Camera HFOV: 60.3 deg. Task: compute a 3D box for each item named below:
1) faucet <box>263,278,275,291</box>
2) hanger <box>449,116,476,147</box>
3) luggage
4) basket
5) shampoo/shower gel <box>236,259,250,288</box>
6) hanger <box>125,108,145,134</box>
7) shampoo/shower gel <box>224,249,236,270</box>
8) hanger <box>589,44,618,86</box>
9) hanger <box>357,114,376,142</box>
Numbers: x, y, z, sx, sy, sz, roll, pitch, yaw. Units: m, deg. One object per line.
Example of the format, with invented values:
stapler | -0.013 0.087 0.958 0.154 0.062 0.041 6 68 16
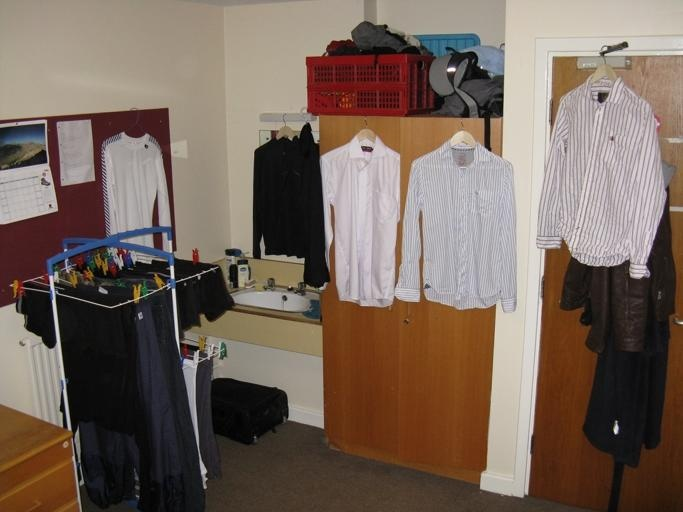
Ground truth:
faucet | -0.592 0.237 4.884 0.101 0.116 0.068 -2 2 24
hanger | 0.753 -0.769 3.654 0.162 0.214 0.008 6 21 23
luggage | -0.777 1.166 4.560 0.410 0.206 0.436 6 8 30
basket | 0.156 -1.094 3.819 0.627 0.382 0.472 7 18 26
shampoo/shower gel | -0.819 0.144 4.859 0.099 0.220 0.085 -4 13 -8
hanger | -1.488 -0.965 4.207 0.005 0.220 0.179 7 9 23
shampoo/shower gel | -0.921 0.035 4.878 0.077 0.156 0.115 -5 14 -12
hanger | 1.457 -1.065 3.262 0.135 0.193 0.209 4 15 26
hanger | 0.165 -0.845 3.883 0.150 0.160 0.009 10 18 36
